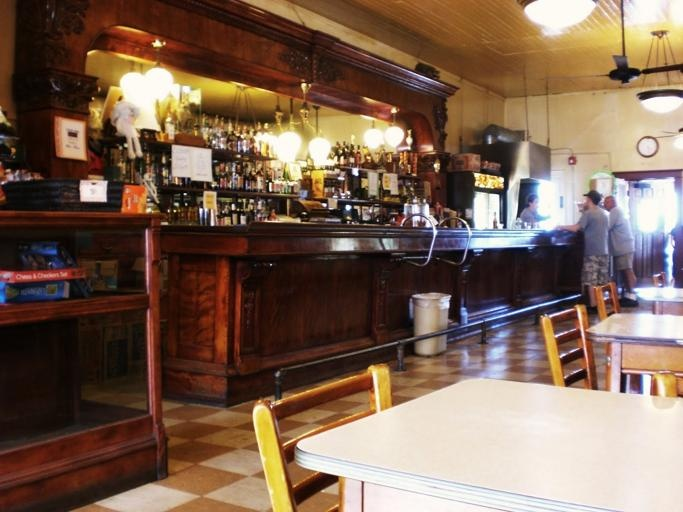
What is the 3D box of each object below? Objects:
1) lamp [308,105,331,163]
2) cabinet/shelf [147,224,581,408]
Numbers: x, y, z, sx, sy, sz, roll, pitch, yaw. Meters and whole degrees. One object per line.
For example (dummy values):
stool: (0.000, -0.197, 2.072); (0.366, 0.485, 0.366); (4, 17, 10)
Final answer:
lamp: (-0.324, -1.684, 7.954); (0.282, 0.762, 0.276); (-8, 11, -20)
cabinet/shelf: (1.255, 0.429, 7.256); (1.191, 1.541, 7.320); (1, 2, 41)
